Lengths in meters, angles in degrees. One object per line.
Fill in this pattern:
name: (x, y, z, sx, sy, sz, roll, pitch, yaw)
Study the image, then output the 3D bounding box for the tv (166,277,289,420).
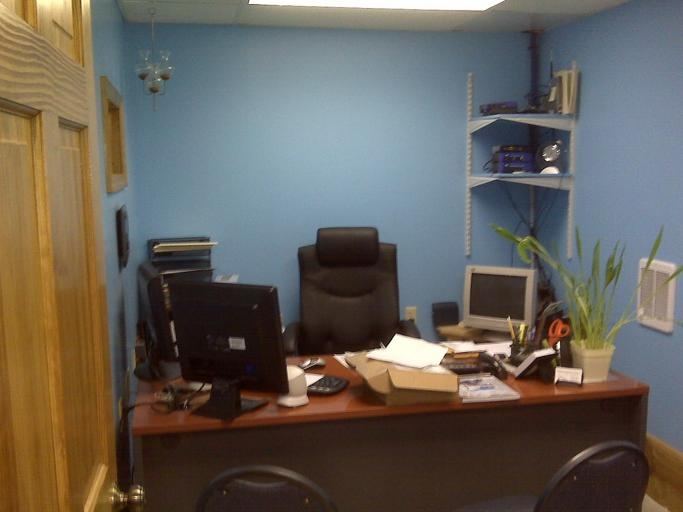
tv: (-0.485, 0.374, 2.363, 0.535, 0.553, 0.201, 3, 13, 23)

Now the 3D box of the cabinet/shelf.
cabinet/shelf: (1.312, -0.754, 4.166, 0.644, 0.566, 0.364, 8, 8, 28)

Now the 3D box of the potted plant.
potted plant: (1.357, 0.251, 2.965, 1.017, 0.829, 0.881, -1, 2, 15)

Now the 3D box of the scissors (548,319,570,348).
scissors: (1.002, 0.363, 2.682, 0.045, 0.121, 0.117, 14, -9, -11)

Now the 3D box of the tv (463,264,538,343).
tv: (0.977, 0.200, 3.805, 0.595, 0.629, 0.394, 3, 3, 30)

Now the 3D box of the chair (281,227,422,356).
chair: (0.117, 0.219, 4.083, 0.740, 1.073, 0.862, -1, 4, -1)

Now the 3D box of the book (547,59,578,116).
book: (1.545, -1.160, 4.004, 0.084, 0.349, 0.228, -8, 10, -32)
